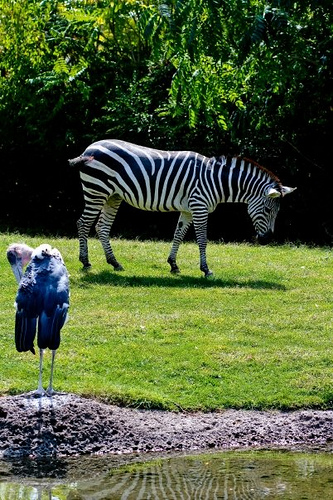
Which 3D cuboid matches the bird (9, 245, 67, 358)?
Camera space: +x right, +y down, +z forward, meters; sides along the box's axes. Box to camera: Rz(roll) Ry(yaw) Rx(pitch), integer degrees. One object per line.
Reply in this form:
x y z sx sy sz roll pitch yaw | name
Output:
-1.166 0.651 8.667 0.657 1.182 0.815 -3 17 -18 | bird
